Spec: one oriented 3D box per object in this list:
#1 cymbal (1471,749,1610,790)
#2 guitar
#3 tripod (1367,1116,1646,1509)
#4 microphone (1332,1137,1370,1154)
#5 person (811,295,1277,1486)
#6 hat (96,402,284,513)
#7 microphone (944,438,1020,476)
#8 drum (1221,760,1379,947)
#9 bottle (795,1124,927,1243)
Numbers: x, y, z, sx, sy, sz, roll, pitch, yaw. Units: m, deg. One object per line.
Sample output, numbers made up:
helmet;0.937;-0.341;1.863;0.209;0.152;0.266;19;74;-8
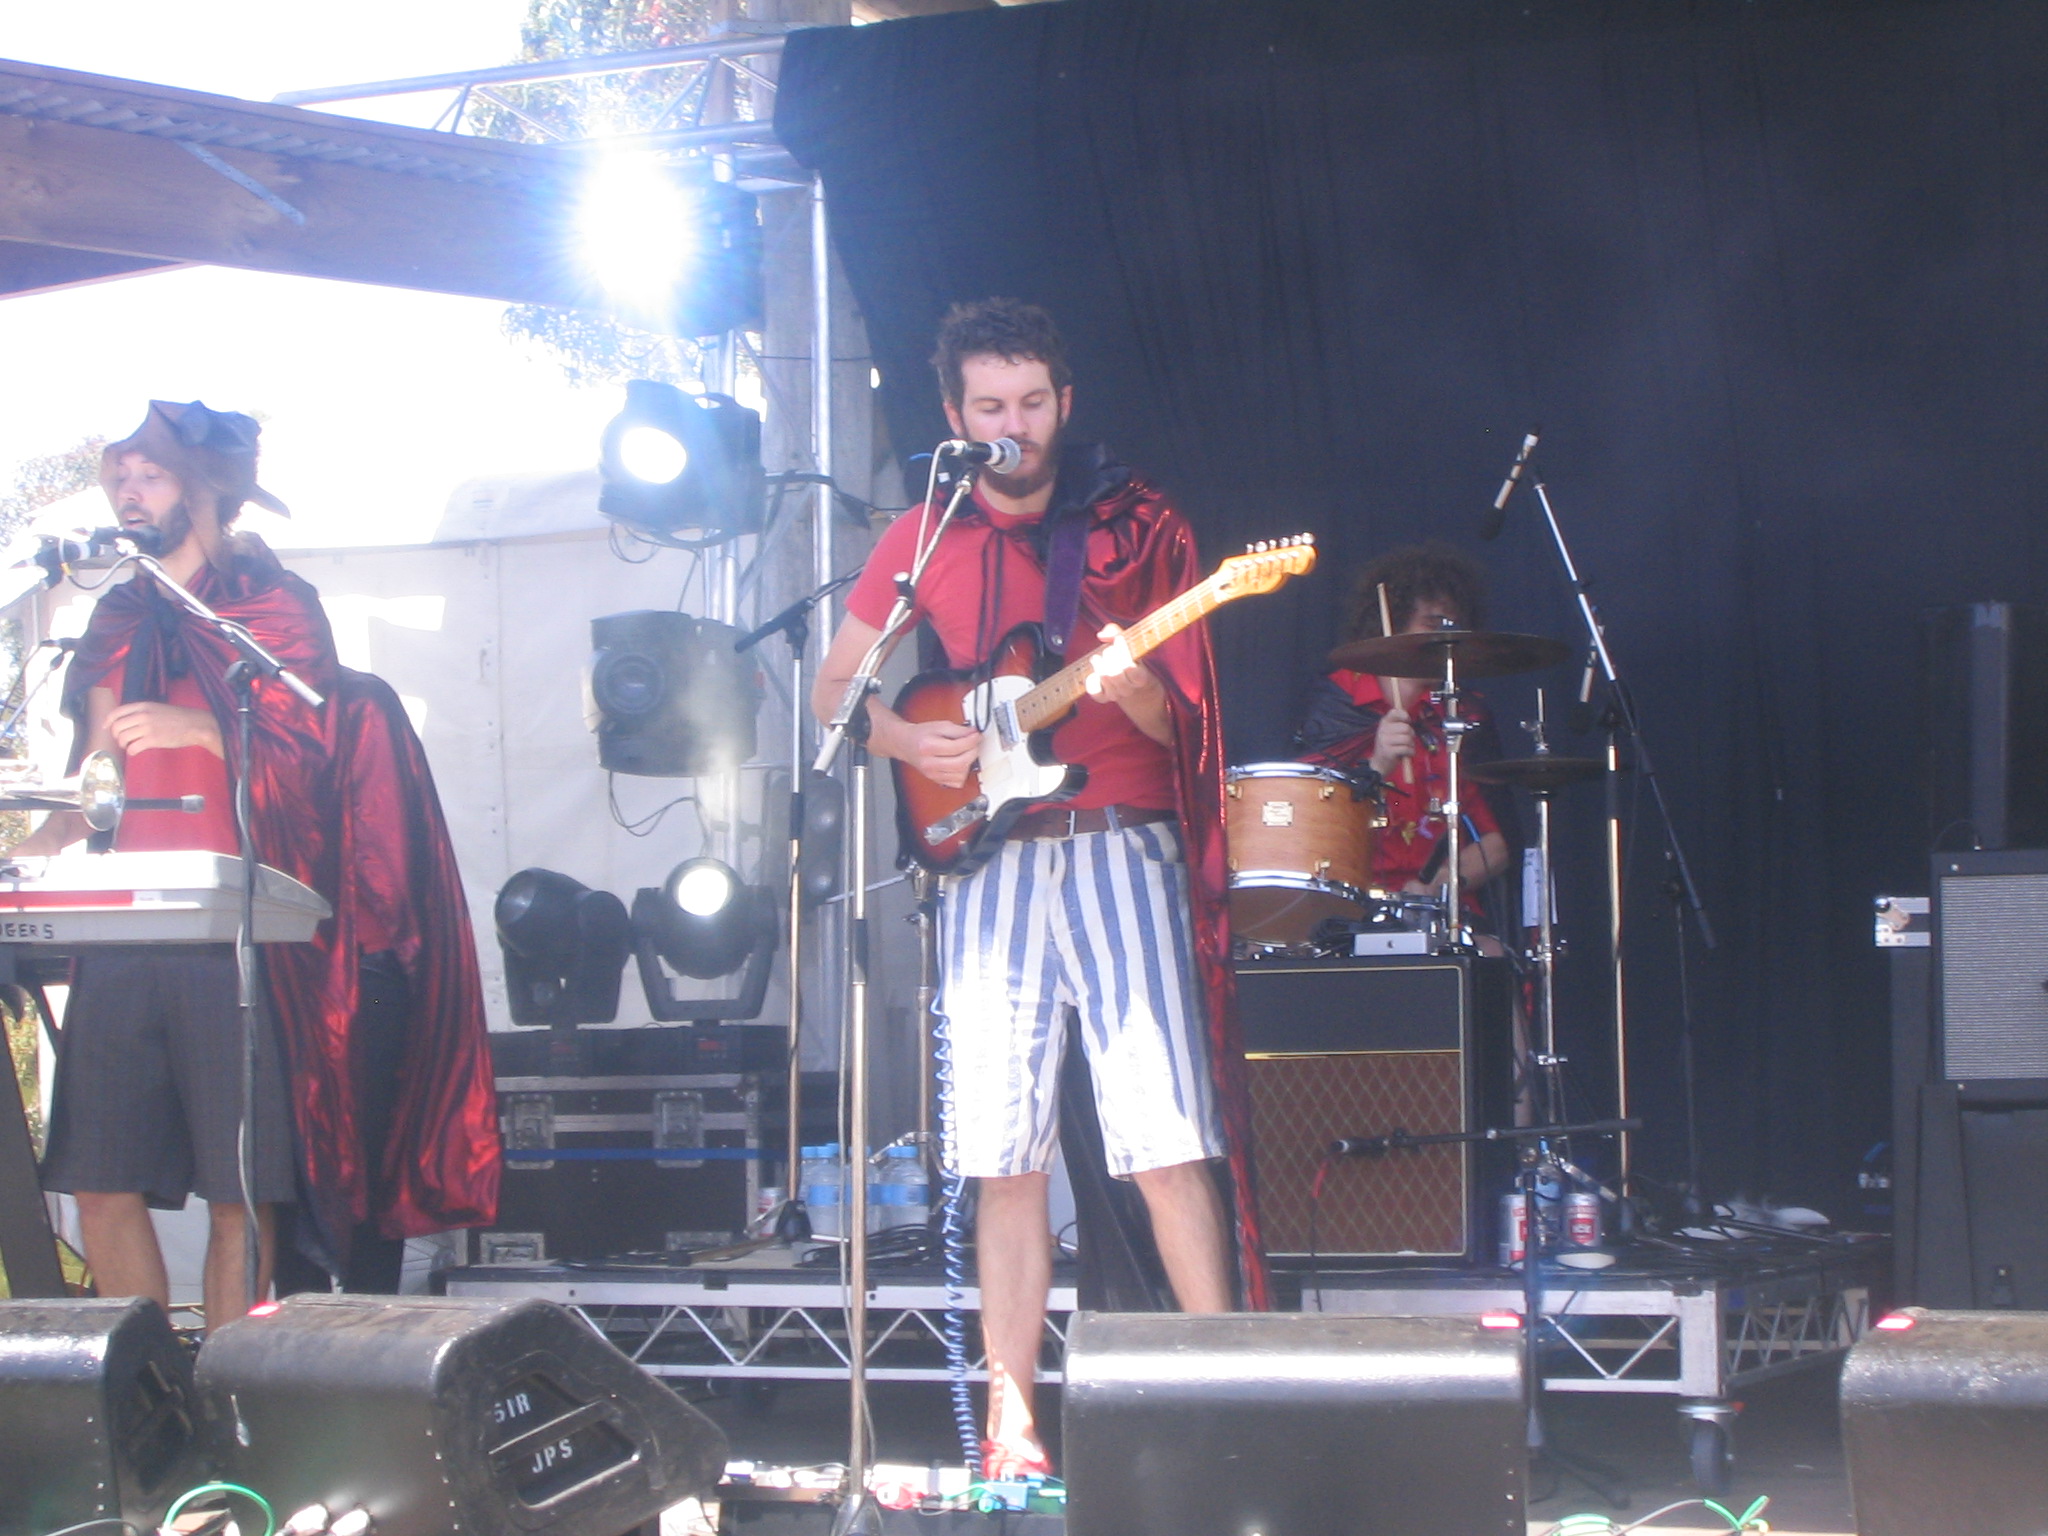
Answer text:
cymbal;1.473;0.006;8.683;0.379;0.121;0.338;1;-5;-32
guitar;0.157;-0.150;7.128;1.096;0.415;0.163;-28;-28;19
tripod;1.384;1.362;7.851;0.890;0.848;0.876;0;0;22
microphone;0.851;0.983;7.913;0.094;0.043;0.042;-2;-4;5
person;0.050;0.246;6.792;0.867;2.588;0.383;-2;-3;4
hat;-2.092;-0.789;7.576;0.363;0.105;0.269;23;-2;-1
microphone;-0.108;-0.679;6.733;0.181;0.073;0.065;-1;-4;-8
drum;0.773;0.236;8.300;0.517;0.358;0.506;0;-10;0
bottle;-0.532;1.163;8.804;0.513;0.352;0.277;1;-1;-36
